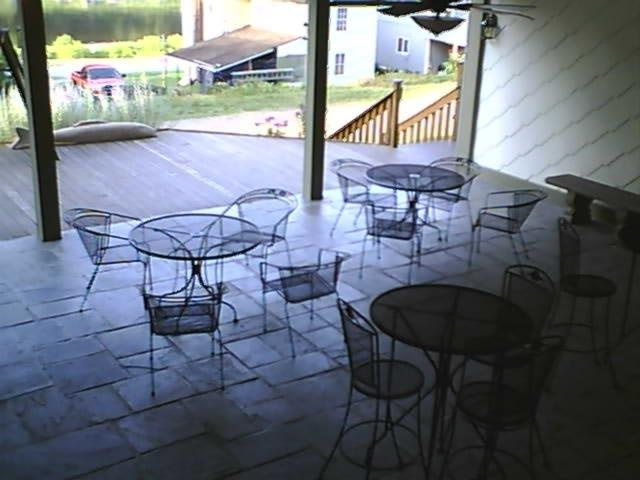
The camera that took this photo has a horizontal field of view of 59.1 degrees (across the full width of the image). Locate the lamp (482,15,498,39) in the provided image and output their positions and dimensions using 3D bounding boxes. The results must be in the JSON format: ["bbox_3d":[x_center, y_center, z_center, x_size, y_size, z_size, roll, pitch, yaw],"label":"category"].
[{"bbox_3d":[2.759,-3.438,9.093,0.249,0.392,0.328,4,62,15],"label":"lamp"}]
